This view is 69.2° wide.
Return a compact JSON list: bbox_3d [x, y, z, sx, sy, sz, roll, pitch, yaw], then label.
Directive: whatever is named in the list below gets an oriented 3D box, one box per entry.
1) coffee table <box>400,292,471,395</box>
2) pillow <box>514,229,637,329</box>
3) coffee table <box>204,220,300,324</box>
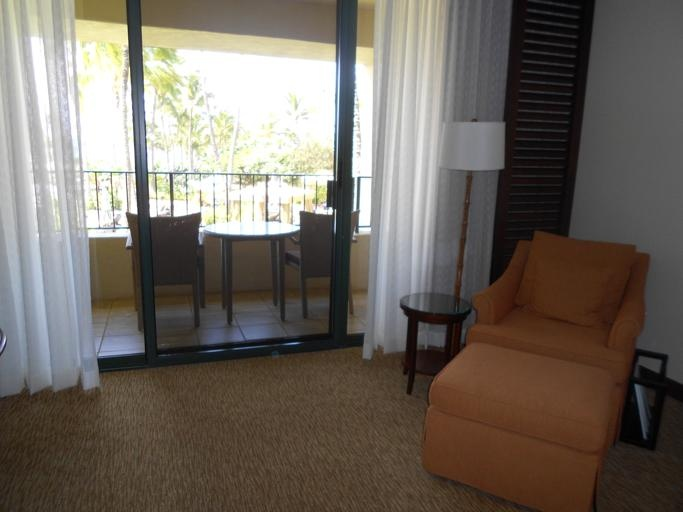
[{"bbox_3d":[0.586,0.615,3.650,0.552,0.738,0.617,1,14,0],"label":"coffee table"},{"bbox_3d":[1.709,0.241,3.646,0.616,0.668,0.212,13,-6,28],"label":"pillow"},{"bbox_3d":[-0.676,-0.033,3.808,0.671,0.733,0.714,-3,24,-12],"label":"coffee table"}]
